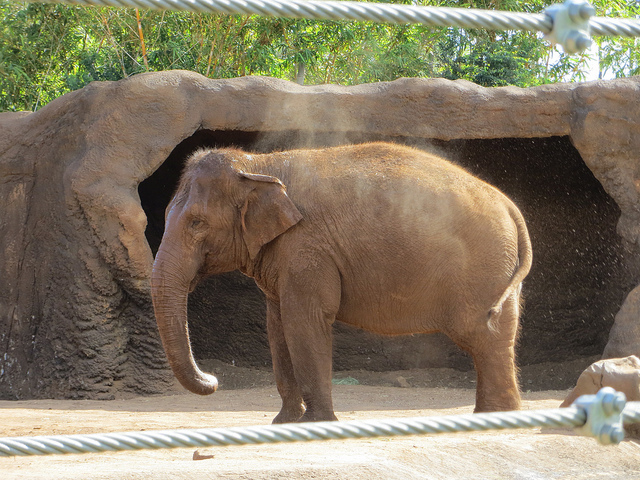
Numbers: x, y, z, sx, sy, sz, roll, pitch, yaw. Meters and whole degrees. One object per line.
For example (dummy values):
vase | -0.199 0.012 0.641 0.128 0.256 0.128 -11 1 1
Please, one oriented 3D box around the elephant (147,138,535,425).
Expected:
elephant | 0.219 0.345 8.466 3.047 1.947 1.270 1 3 3
